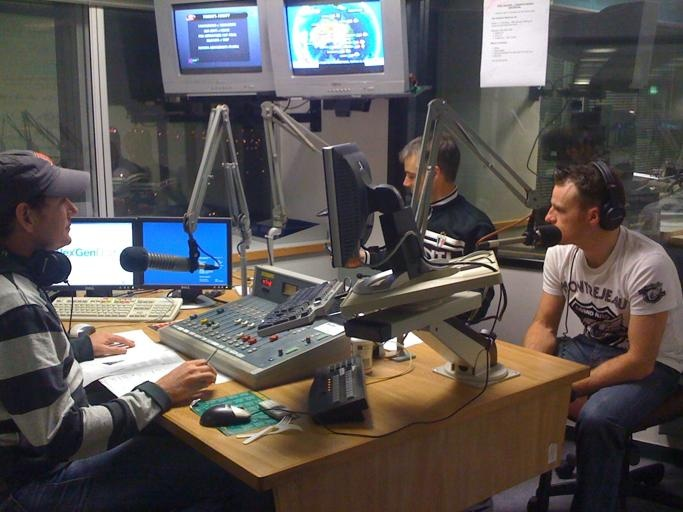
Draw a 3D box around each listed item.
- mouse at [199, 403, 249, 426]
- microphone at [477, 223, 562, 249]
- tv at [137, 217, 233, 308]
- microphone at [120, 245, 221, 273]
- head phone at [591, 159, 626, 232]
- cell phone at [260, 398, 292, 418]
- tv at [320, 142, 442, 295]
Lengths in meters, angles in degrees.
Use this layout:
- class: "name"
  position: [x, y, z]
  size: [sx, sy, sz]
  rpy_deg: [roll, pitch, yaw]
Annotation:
- class: "mouse"
  position: [-0.347, 0.476, 1.644]
  size: [0.117, 0.040, 0.063]
  rpy_deg: [-3, 7, -14]
- class: "microphone"
  position: [0.612, -0.058, 1.830]
  size: [0.339, 0.087, 0.094]
  rpy_deg: [-5, 3, -11]
- class: "tv"
  position: [-0.729, 0.023, 2.589]
  size: [0.439, 0.395, 0.167]
  rpy_deg: [0, -4, -2]
- class: "microphone"
  position: [-0.684, 0.024, 2.130]
  size: [0.441, 0.107, 0.110]
  rpy_deg: [5, 0, -34]
- class: "head phone"
  position: [1.088, -0.239, 2.285]
  size: [0.129, 0.286, 0.202]
  rpy_deg: [4, 16, 23]
- class: "cell phone"
  position: [-0.203, 0.470, 1.706]
  size: [0.122, 0.019, 0.056]
  rpy_deg: [10, 19, 41]
- class: "tv"
  position: [0.128, -0.113, 1.657]
  size: [0.380, 0.440, 0.102]
  rpy_deg: [-10, 17, -24]
